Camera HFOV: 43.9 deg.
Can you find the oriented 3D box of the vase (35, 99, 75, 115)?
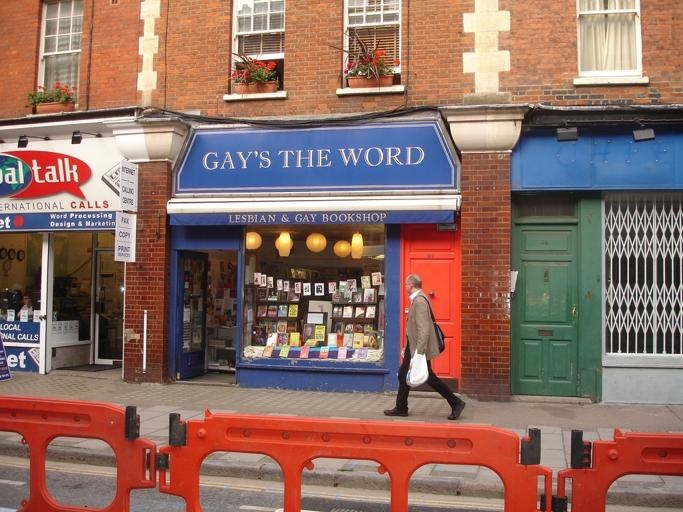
[{"bbox_3d":[-5.895,-3.036,17.374,0.574,0.169,0.363,-3,3,-3],"label":"vase"}]

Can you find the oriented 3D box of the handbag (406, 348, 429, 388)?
[{"bbox_3d":[1.214,1.795,13.633,0.294,0.531,0.445,25,-44,-11],"label":"handbag"}]

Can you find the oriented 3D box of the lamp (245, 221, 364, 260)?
[{"bbox_3d":[-0.697,-0.229,16.422,2.306,0.621,0.239,-1,-4,12],"label":"lamp"}]

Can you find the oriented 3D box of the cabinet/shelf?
[{"bbox_3d":[-0.843,1.337,16.462,2.063,1.562,0.676,-1,-11,9],"label":"cabinet/shelf"}]

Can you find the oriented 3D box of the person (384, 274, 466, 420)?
[{"bbox_3d":[1.353,1.503,13.983,1.243,2.387,0.977,-1,-4,14],"label":"person"}]

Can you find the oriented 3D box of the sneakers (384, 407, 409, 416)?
[{"bbox_3d":[0.917,2.594,14.140,0.432,0.176,0.152,3,-7,4],"label":"sneakers"}]

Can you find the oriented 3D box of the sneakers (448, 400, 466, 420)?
[{"bbox_3d":[1.898,2.563,13.886,0.233,0.152,0.452,11,-38,-2],"label":"sneakers"}]

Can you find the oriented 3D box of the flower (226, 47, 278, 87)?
[{"bbox_3d":[-1.745,-3.647,16.487,0.750,0.318,0.738,1,2,2],"label":"flower"}]

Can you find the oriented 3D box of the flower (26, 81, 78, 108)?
[{"bbox_3d":[-5.958,-3.283,17.417,0.852,0.370,0.585,-1,-1,-29],"label":"flower"}]

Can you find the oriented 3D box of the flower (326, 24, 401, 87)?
[{"bbox_3d":[0.426,-3.776,16.142,1.391,1.215,0.456,0,-4,8],"label":"flower"}]
